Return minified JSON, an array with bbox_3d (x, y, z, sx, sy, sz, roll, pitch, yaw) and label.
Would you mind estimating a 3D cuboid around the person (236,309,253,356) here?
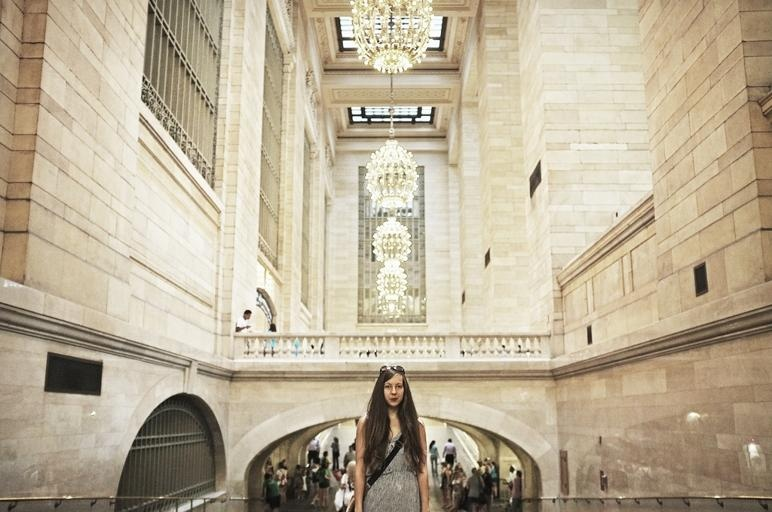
[{"bbox_3d":[-3.948,2.046,17.962,0.433,1.328,0.991,3,-22,-7],"label":"person"}]
